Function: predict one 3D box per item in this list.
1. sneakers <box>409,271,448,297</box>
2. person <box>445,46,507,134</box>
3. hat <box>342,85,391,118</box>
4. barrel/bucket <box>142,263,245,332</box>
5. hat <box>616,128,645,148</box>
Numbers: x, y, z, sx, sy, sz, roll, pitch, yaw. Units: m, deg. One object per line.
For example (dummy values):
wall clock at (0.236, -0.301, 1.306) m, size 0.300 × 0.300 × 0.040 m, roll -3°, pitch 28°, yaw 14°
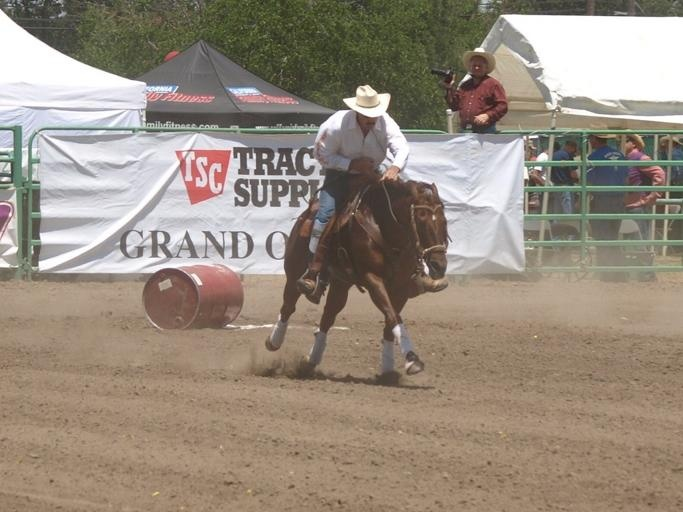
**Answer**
sneakers at (1.041, 0.364, 13.840) m, size 0.441 × 0.159 × 0.245 m, roll -4°, pitch 23°, yaw 27°
person at (2.245, -2.739, 18.604) m, size 1.029 × 1.442 × 0.618 m, roll 5°, pitch 4°, yaw 21°
hat at (0.306, -1.867, 14.023) m, size 0.474 × 0.199 × 0.494 m, roll -23°, pitch 38°, yaw -27°
barrel/bucket at (-2.192, 0.635, 15.937) m, size 1.084 × 1.018 × 1.184 m, roll -22°, pitch -13°, yaw -5°
hat at (5.387, -2.184, 20.934) m, size 0.432 × 0.131 × 0.398 m, roll 18°, pitch -13°, yaw 34°
